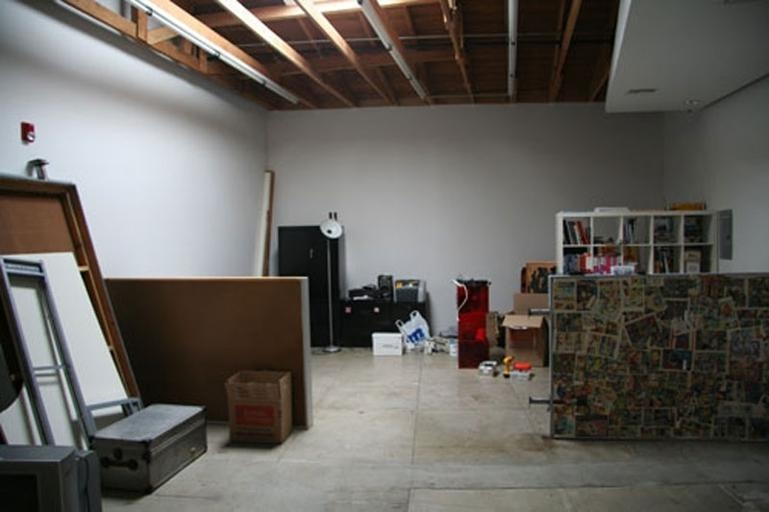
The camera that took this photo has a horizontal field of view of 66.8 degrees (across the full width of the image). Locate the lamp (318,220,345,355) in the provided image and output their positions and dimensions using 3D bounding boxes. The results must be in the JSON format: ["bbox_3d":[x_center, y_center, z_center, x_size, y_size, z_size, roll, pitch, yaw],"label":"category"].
[{"bbox_3d":[-0.806,0.386,8.958,0.301,2.121,0.619,-1,2,-5],"label":"lamp"}]

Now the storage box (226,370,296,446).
[{"bbox_3d":[-1.261,1.540,5.953,0.577,0.570,0.482,-2,-4,9],"label":"storage box"}]

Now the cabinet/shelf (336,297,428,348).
[{"bbox_3d":[-0.036,0.956,9.516,1.491,0.969,0.977,-1,12,-3],"label":"cabinet/shelf"}]

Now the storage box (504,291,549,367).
[{"bbox_3d":[1.976,0.967,8.092,0.715,0.713,0.531,2,3,19],"label":"storage box"}]

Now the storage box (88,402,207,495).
[{"bbox_3d":[-2.153,1.621,5.269,0.632,0.424,0.898,-2,5,11],"label":"storage box"}]

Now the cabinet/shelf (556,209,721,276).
[{"bbox_3d":[3.354,-0.126,7.807,1.832,0.894,0.481,0,-9,20],"label":"cabinet/shelf"}]

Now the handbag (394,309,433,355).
[{"bbox_3d":[0.440,1.125,8.884,0.516,0.570,0.488,-1,1,1],"label":"handbag"}]
